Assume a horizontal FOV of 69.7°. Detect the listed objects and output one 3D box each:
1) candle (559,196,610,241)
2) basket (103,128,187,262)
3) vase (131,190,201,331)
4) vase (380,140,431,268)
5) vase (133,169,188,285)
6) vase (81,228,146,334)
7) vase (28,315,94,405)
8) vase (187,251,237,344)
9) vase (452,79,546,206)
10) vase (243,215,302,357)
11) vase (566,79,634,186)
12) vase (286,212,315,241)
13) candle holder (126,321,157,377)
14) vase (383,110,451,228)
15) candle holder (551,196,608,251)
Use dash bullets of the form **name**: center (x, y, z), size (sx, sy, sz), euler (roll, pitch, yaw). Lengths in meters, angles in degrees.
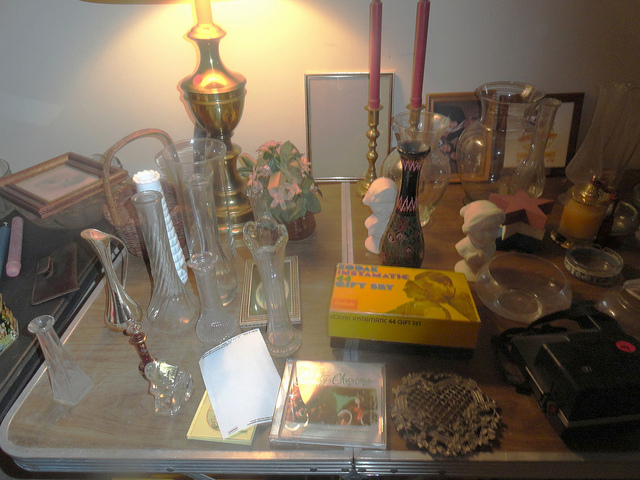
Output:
- **candle**: center (0.795, -0.059, 1.388), size (0.111, 0.118, 0.046), euler (15, 30, 29)
- **basket**: center (-0.530, -0.061, 1.456), size (0.214, 0.528, 0.220), euler (-15, 38, -25)
- **vase**: center (-0.425, 0.057, 1.249), size (0.151, 0.365, 0.153), euler (-18, 16, -31)
- **vase**: center (0.245, -0.091, 1.248), size (0.143, 0.357, 0.105), euler (-6, 26, -9)
- **vase**: center (-0.416, 0.001, 1.306), size (0.119, 0.354, 0.139), euler (10, 37, 4)
- **vase**: center (-0.569, 0.121, 1.278), size (0.130, 0.280, 0.116), euler (-16, 44, -31)
- **vase**: center (-0.613, 0.283, 1.084), size (0.094, 0.212, 0.063), euler (4, 26, 11)
- **vase**: center (-0.273, 0.149, 1.166), size (0.108, 0.252, 0.069), euler (-7, 27, -12)
- **vase**: center (0.573, -0.298, 1.496), size (0.236, 0.381, 0.313), euler (11, 29, 22)
- **vase**: center (-0.124, 0.098, 1.206), size (0.124, 0.321, 0.249), euler (-6, 27, -9)
- **vase**: center (0.911, -0.334, 1.473), size (0.135, 0.329, 0.112), euler (-4, 26, -6)
- **vase**: center (-0.067, -0.040, 1.449), size (0.080, 0.082, 0.082), euler (-12, 40, -19)
- **candle holder**: center (-0.420, 0.245, 1.101), size (0.073, 0.135, 0.066), euler (-8, 38, -23)
- **vase**: center (0.284, -0.216, 1.501), size (0.154, 0.392, 0.193), euler (2, 38, 0)
- **candle holder**: center (0.777, -0.046, 1.401), size (0.133, 0.161, 0.145), euler (14, 43, 19)
